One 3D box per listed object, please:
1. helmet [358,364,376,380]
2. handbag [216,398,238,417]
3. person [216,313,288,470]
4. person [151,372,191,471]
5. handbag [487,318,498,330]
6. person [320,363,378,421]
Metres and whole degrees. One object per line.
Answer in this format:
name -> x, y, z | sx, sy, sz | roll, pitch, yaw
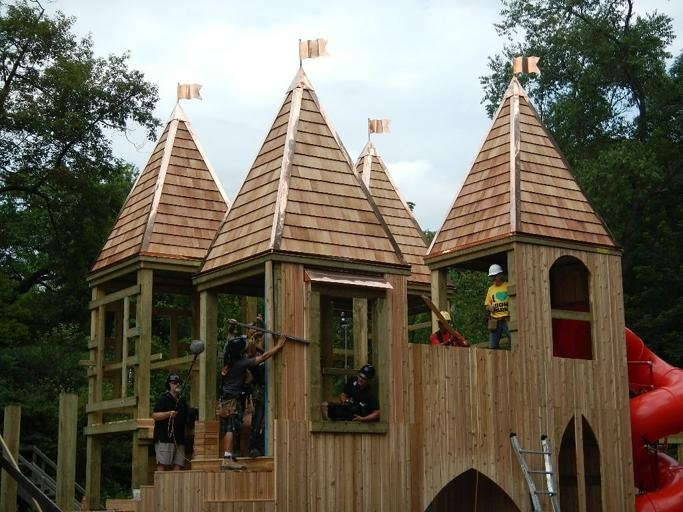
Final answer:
helmet -> 0.563, 2.415, 25.653 | 0.325, 0.345, 0.247 | 20, 8, -41
handbag -> -2.321, 3.087, 25.033 | 0.445, 0.337, 0.236 | -7, -20, 15
person -> -2.032, 2.882, 25.041 | 1.512, 2.850, 0.729 | -18, -24, 40
person -> -3.662, 3.592, 26.285 | 0.688, 2.044, 0.981 | -1, -19, -2
handbag -> 3.399, 1.527, 27.964 | 0.126, 0.287, 0.296 | 13, -24, -38
person -> 0.170, 2.938, 26.562 | 0.855, 1.645, 1.164 | 16, -3, -21
